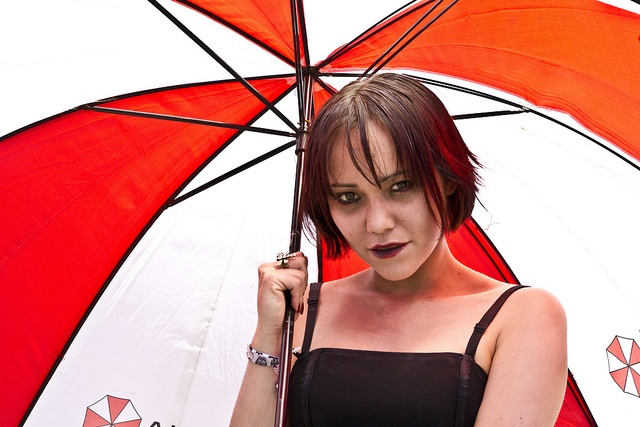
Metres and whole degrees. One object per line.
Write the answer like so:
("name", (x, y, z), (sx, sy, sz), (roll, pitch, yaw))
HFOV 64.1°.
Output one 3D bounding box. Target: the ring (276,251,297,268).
("ring", (-0.186, 0.240, 2.676), (0.086, 0.037, 0.089), (-9, -45, -9))
